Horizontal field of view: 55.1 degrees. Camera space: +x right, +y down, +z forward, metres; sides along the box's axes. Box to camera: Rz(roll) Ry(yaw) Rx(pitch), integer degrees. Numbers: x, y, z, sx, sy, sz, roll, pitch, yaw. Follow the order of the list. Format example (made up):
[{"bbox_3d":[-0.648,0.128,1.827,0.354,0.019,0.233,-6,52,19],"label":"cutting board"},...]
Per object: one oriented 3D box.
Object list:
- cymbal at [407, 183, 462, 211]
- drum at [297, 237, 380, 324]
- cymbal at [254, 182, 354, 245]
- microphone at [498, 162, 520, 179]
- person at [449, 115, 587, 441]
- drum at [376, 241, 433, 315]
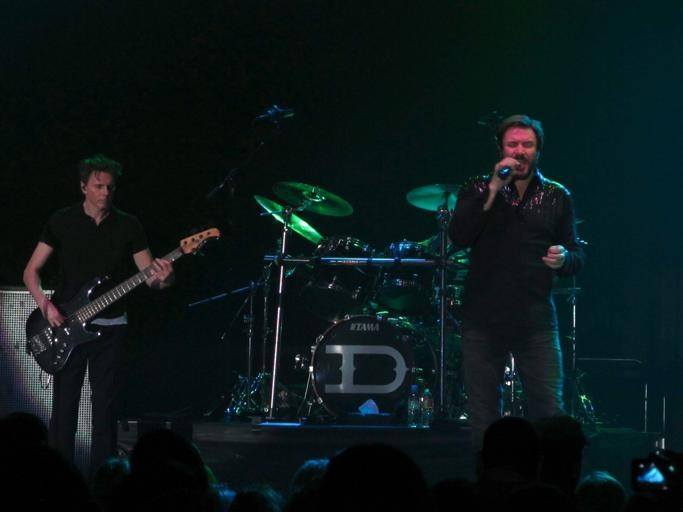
[{"bbox_3d":[0.892,-0.572,6.330,0.373,0.088,0.367,4,-32,0],"label":"cymbal"},{"bbox_3d":[-0.046,0.207,6.169,0.769,0.713,0.553,7,-17,-7],"label":"drum"},{"bbox_3d":[-0.354,-0.379,6.418,0.885,0.623,0.852,4,-17,2],"label":"cymbal"},{"bbox_3d":[0.934,-0.474,3.688,0.121,0.085,0.048,13,-19,-26],"label":"microphone"},{"bbox_3d":[0.978,0.138,3.828,0.636,1.841,0.559,16,-20,-33],"label":"person"},{"bbox_3d":[0.582,0.191,6.092,0.518,0.630,0.499,4,-17,1],"label":"drum"}]
